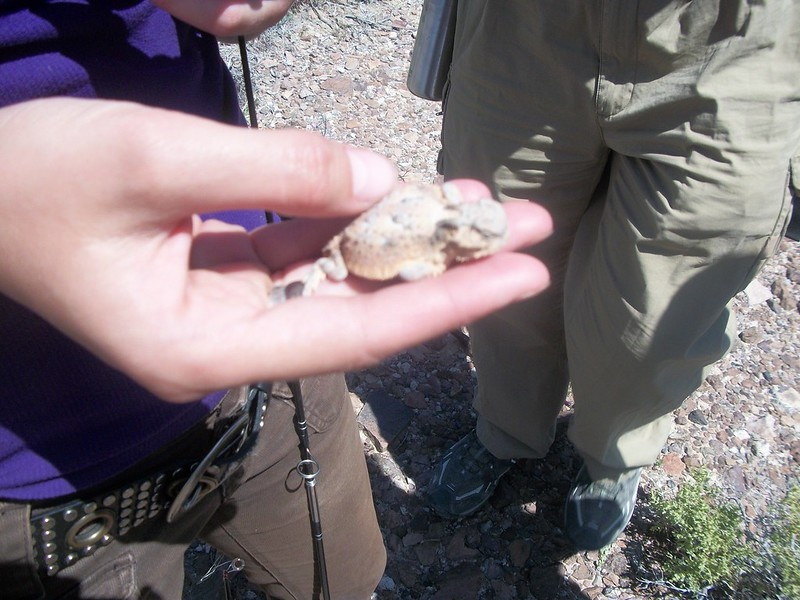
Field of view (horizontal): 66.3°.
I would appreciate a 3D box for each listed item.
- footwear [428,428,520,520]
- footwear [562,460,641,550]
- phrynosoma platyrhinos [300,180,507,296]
[{"bbox_3d":[0.335,0.788,2.854,0.250,0.166,0.466,36,67,18],"label":"footwear"},{"bbox_3d":[0.870,0.874,2.679,0.190,0.250,0.556,8,32,22],"label":"footwear"},{"bbox_3d":[0.019,-0.189,1.869,0.440,0.176,0.385,-1,75,-10],"label":"phrynosoma platyrhinos"}]
